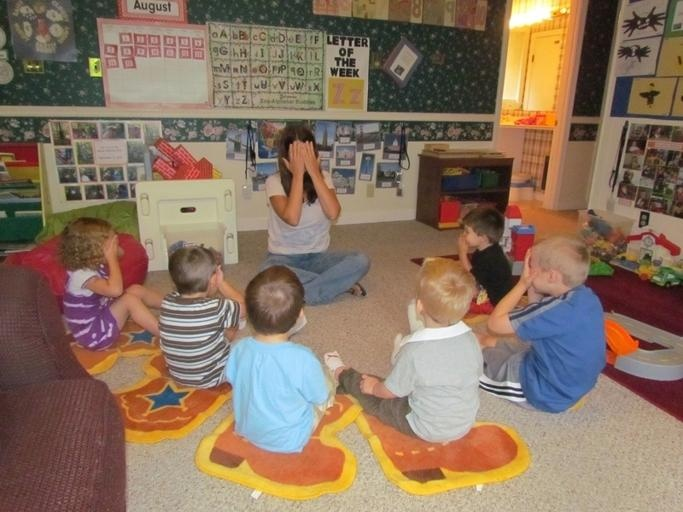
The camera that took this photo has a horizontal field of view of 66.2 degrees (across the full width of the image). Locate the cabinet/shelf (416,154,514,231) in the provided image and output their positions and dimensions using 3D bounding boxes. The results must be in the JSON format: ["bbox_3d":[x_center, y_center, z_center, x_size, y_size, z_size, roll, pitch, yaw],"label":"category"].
[{"bbox_3d":[1.050,-0.573,4.600,0.749,0.620,0.376,-5,20,-16],"label":"cabinet/shelf"}]

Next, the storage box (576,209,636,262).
[{"bbox_3d":[1.970,-0.151,3.827,0.202,0.331,0.341,-6,16,-29],"label":"storage box"}]

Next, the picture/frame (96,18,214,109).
[{"bbox_3d":[-1.436,-1.465,3.923,0.700,0.519,0.027,-5,18,-18],"label":"picture/frame"}]

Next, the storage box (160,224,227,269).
[{"bbox_3d":[-0.973,-0.036,3.513,0.406,0.293,0.210,-3,9,-17],"label":"storage box"}]

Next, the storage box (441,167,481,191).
[{"bbox_3d":[1.111,-0.692,4.855,0.275,0.128,0.283,-1,11,-5],"label":"storage box"}]

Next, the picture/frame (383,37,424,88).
[{"bbox_3d":[0.548,-1.696,4.591,0.358,0.348,0.105,35,0,-34],"label":"picture/frame"}]

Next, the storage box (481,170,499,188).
[{"bbox_3d":[1.407,-0.754,5.032,0.170,0.173,0.168,-1,13,-6],"label":"storage box"}]

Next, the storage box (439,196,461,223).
[{"bbox_3d":[0.992,-0.426,4.747,0.216,0.213,0.215,-2,10,-7],"label":"storage box"}]

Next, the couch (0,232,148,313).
[{"bbox_3d":[-1.459,0.034,3.030,0.605,0.219,0.594,2,20,-39],"label":"couch"}]

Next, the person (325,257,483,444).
[{"bbox_3d":[0.267,0.342,2.282,0.502,0.741,0.722,-10,18,-23],"label":"person"}]

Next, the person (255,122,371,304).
[{"bbox_3d":[-0.170,-0.257,3.124,0.673,0.995,0.688,5,17,16],"label":"person"}]
